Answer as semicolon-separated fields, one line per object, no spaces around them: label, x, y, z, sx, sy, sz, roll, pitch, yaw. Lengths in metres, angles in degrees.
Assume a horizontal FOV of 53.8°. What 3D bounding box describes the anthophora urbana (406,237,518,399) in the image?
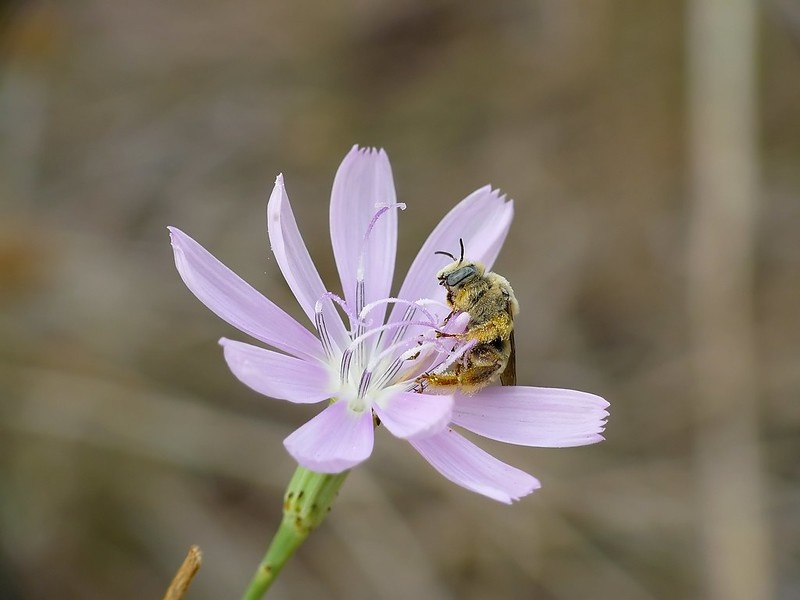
anthophora urbana;0.155;0.068;1.846;0.230;0.134;0.373;6;-66;39
